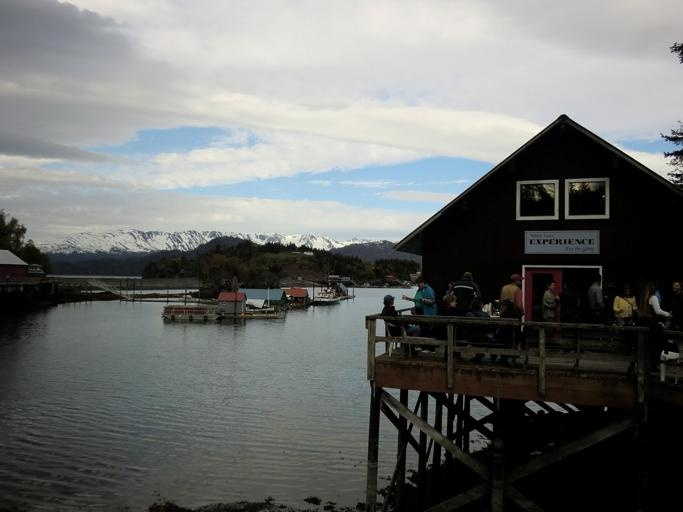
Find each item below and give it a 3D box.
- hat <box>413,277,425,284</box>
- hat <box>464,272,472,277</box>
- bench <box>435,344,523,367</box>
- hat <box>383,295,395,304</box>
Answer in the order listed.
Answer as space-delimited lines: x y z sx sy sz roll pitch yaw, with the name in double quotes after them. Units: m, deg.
2.670 0.799 21.036 0.441 0.243 0.597 -2 -1 7 "hat"
4.059 0.535 19.671 0.227 0.118 0.312 0 -6 8 "hat"
4.051 2.845 18.216 2.676 0.599 2.868 6 -3 10 "bench"
1.485 1.371 19.504 0.372 0.343 0.278 -10 13 -43 "hat"
